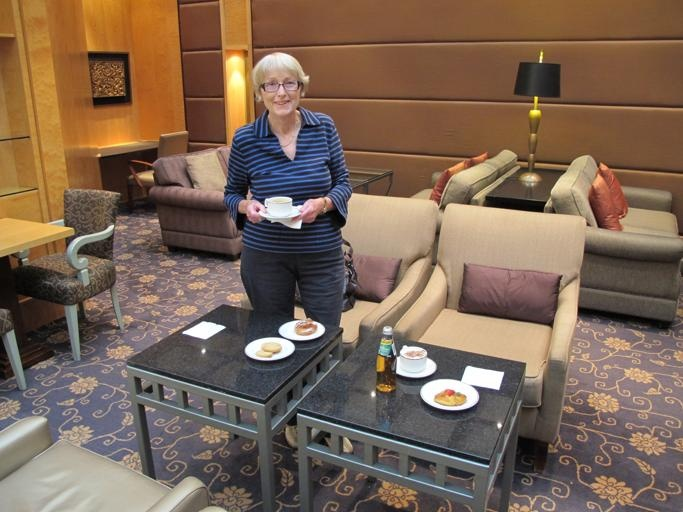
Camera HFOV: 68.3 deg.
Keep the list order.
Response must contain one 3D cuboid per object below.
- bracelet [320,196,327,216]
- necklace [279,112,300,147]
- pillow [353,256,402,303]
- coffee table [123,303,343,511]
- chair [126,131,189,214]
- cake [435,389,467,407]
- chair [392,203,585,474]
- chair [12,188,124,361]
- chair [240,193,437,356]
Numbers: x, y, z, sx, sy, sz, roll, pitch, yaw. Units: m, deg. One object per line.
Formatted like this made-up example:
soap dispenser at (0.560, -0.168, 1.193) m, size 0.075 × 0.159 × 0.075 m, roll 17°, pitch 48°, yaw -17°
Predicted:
bracelet at (-0.087, -0.259, 2.584) m, size 0.024 × 0.064 × 0.056 m, roll -1°, pitch 5°, yaw -21°
necklace at (-0.266, -0.646, 2.587) m, size 0.123 × 0.162 × 0.059 m, roll -2°, pitch 11°, yaw 15°
pillow at (0.240, 0.153, 3.423) m, size 0.337 × 0.291 × 0.097 m, roll 7°, pitch -16°, yaw 11°
coffee table at (-0.567, 0.598, 2.798) m, size 0.920 × 0.925 × 0.976 m, roll 9°, pitch 22°, yaw 24°
chair at (-2.729, -1.162, 7.048) m, size 0.732 × 0.922 × 0.714 m, roll 3°, pitch 18°, yaw 12°
cake at (0.477, 0.601, 2.157) m, size 0.083 × 0.031 × 0.075 m, roll 6°, pitch 16°, yaw 38°
chair at (0.977, 0.431, 3.183) m, size 0.999 × 1.173 × 1.185 m, roll 5°, pitch 22°, yaw 21°
chair at (-2.154, 0.125, 4.003) m, size 0.768 × 1.131 × 0.808 m, roll 16°, pitch 23°, yaw 37°
chair at (-0.080, 0.110, 3.486) m, size 1.073 × 1.154 × 1.136 m, roll 10°, pitch 25°, yaw 23°
